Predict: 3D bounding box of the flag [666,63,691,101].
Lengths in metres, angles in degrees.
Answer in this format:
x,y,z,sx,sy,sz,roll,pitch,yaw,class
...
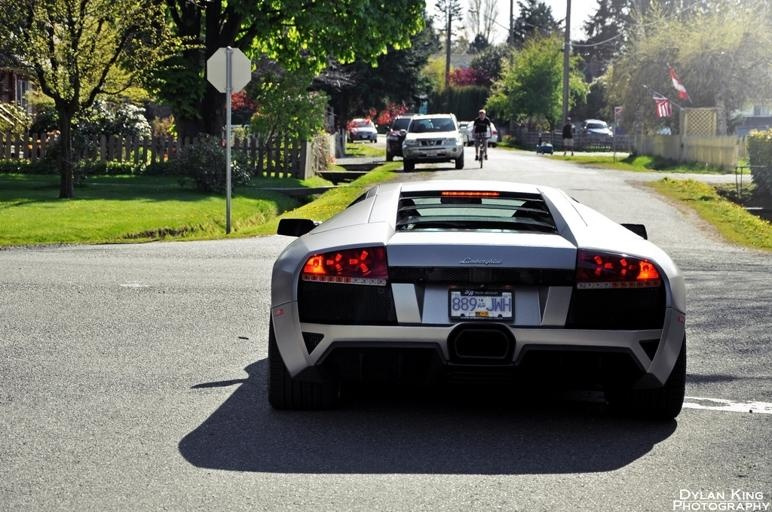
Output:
x,y,z,sx,sy,sz,roll,pitch,yaw,class
16.358,-9.742,47.363,0.442,1.057,3.599,-16,-43,25,flag

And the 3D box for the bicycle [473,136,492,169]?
x,y,z,sx,sy,sz,roll,pitch,yaw,class
3.774,-3.973,32.228,0.588,0.928,1.375,0,11,0,bicycle

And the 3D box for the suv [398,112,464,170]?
x,y,z,sx,sy,sz,roll,pitch,yaw,class
1.793,-4.214,31.510,2.210,2.093,2.541,0,6,12,suv

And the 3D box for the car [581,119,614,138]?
x,y,z,sx,sy,sz,roll,pitch,yaw,class
17.388,-10.526,69.938,1.861,1.924,3.280,2,3,-2,car

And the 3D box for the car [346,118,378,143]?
x,y,z,sx,sy,sz,roll,pitch,yaw,class
-2.027,-10.602,72.309,2.355,1.954,2.939,-1,6,-2,car

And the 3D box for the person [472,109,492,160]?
x,y,z,sx,sy,sz,roll,pitch,yaw,class
3.571,-4.508,31.658,0.579,2.003,0.583,0,24,5,person
